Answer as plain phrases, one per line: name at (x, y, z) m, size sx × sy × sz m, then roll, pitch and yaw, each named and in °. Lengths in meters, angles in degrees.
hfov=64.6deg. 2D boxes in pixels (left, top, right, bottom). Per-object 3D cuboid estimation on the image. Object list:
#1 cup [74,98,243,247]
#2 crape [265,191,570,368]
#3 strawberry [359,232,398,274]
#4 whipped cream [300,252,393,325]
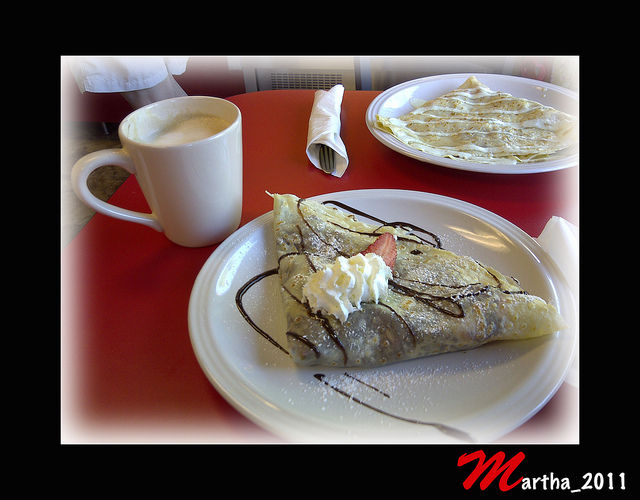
cup at (-0.362, -0.152, 1.186) m, size 0.399 × 0.297 × 0.259 m, roll -27°, pitch 44°, yaw -33°
crape at (0.187, 0.022, 1.132) m, size 0.571 × 0.117 × 0.454 m, roll -5°, pitch 44°, yaw -2°
strawberry at (0.144, 0.001, 1.147) m, size 0.077 × 0.072 × 0.105 m, roll 6°, pitch 20°, yaw 11°
whipped cream at (0.059, 0.067, 1.066) m, size 0.173 × 0.076 × 0.163 m, roll 10°, pitch 45°, yaw 14°
